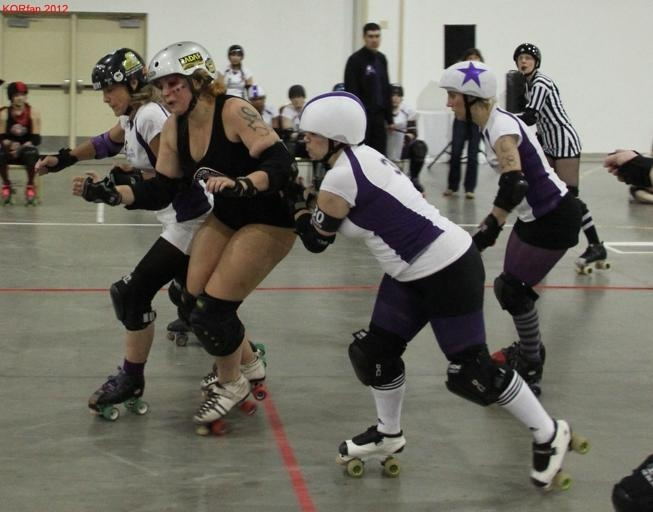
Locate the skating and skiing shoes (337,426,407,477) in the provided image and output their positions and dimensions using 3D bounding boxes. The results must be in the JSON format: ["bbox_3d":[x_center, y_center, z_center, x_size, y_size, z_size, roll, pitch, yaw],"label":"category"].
[{"bbox_3d":[0.213,0.948,3.446,0.296,0.219,0.197,2,4,-4],"label":"skating and skiing shoes"}]

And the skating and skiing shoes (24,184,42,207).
[{"bbox_3d":[-4.331,-0.880,10.546,0.265,0.478,0.281,2,-3,-24],"label":"skating and skiing shoes"}]

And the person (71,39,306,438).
[{"bbox_3d":[-0.576,-0.064,3.787,0.910,2.061,0.605,7,14,26],"label":"person"}]

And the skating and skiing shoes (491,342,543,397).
[{"bbox_3d":[1.210,0.658,4.520,0.381,0.251,0.126,6,32,43],"label":"skating and skiing shoes"}]

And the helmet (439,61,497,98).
[{"bbox_3d":[0.819,-1.035,4.171,0.275,0.191,0.215,-1,16,1],"label":"helmet"}]

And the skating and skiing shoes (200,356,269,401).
[{"bbox_3d":[-0.498,0.710,4.086,0.193,0.310,0.451,-14,-12,24],"label":"skating and skiing shoes"}]

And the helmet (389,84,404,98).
[{"bbox_3d":[1.110,-2.634,11.237,0.204,0.273,0.284,-3,4,-10],"label":"helmet"}]

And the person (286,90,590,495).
[{"bbox_3d":[0.445,0.155,3.345,1.268,1.783,0.323,3,13,11],"label":"person"}]

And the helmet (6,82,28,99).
[{"bbox_3d":[-4.446,-2.389,10.278,0.251,0.237,0.256,-2,14,-12],"label":"helmet"}]

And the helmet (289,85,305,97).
[{"bbox_3d":[-0.527,-3.044,12.885,0.309,0.279,0.338,-2,5,-3],"label":"helmet"}]

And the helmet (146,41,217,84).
[{"bbox_3d":[-0.731,-0.965,3.592,0.282,0.204,0.210,-14,16,-22],"label":"helmet"}]

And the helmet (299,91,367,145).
[{"bbox_3d":[0.030,-0.641,3.268,0.276,0.258,0.214,-2,17,-5],"label":"helmet"}]

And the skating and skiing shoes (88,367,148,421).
[{"bbox_3d":[-1.170,0.770,4.019,0.178,0.248,0.325,11,8,36],"label":"skating and skiing shoes"}]

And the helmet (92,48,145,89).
[{"bbox_3d":[-1.143,-1.025,4.016,0.263,0.234,0.220,-33,15,-13],"label":"helmet"}]

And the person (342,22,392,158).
[{"bbox_3d":[0.651,-2.073,9.909,0.652,2.156,0.473,-10,25,-17],"label":"person"}]
